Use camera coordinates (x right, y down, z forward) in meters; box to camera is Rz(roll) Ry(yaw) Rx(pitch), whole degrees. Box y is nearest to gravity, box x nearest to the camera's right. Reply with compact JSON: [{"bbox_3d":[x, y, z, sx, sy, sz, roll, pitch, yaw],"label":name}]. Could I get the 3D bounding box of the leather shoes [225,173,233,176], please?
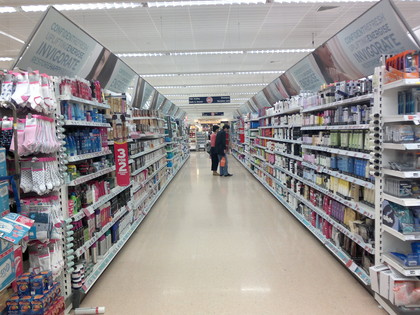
[{"bbox_3d":[0.688,0.654,10.587,0.260,0.122,0.099,-3,1,2],"label":"leather shoes"}]
